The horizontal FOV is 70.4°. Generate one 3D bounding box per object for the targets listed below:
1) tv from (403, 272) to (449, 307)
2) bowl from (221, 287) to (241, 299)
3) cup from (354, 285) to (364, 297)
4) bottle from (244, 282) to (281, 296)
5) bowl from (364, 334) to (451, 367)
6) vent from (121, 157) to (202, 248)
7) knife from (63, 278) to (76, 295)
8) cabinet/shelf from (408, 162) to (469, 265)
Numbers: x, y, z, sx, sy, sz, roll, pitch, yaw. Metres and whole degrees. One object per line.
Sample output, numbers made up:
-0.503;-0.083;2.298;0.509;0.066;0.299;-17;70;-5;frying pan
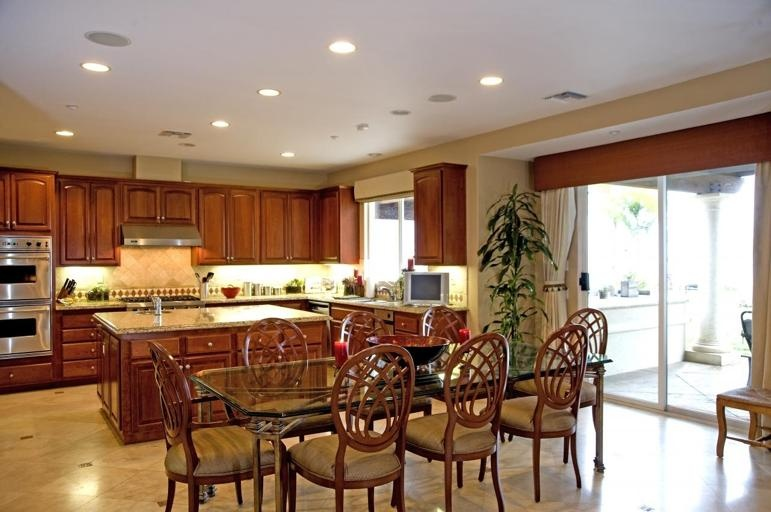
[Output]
0.553;0.452;7.325;0.429;0.524;0.792;6;-8;-44;tv
-2.417;0.580;8.536;0.216;0.125;0.202;0;-3;0;bowl
-0.418;0.559;8.715;0.100;0.161;0.184;-4;6;-44;cup
-1.976;0.540;8.925;0.666;0.232;0.362;0;-1;-28;bottle
0.177;0.779;4.467;0.643;0.181;0.634;2;2;0;bowl
-3.273;-0.794;7.976;1.057;1.404;0.538;-1;0;-23;vent
-4.369;0.427;7.589;0.208;0.184;0.067;2;3;-28;knife
0.765;-0.532;7.290;0.525;1.298;0.857;-4;6;-24;cabinet/shelf
